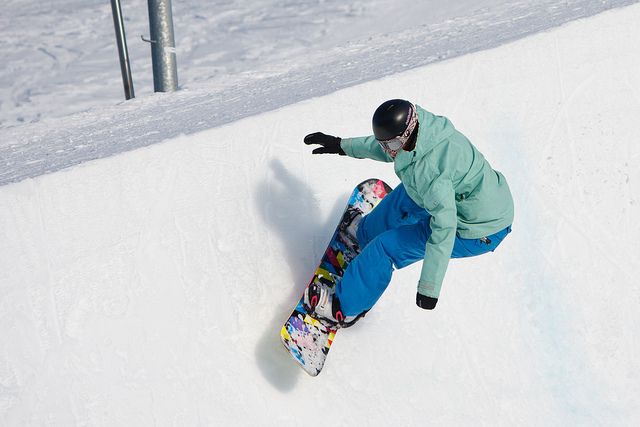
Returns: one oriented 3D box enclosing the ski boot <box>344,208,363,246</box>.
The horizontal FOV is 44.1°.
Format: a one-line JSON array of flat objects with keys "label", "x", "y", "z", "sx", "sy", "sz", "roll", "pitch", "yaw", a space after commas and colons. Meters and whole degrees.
[{"label": "ski boot", "x": 0.463, "y": 0.187, "z": 10.855, "sx": 0.074, "sy": 0.129, "sz": 0.434, "roll": -21, "pitch": 36, "yaw": 56}]
